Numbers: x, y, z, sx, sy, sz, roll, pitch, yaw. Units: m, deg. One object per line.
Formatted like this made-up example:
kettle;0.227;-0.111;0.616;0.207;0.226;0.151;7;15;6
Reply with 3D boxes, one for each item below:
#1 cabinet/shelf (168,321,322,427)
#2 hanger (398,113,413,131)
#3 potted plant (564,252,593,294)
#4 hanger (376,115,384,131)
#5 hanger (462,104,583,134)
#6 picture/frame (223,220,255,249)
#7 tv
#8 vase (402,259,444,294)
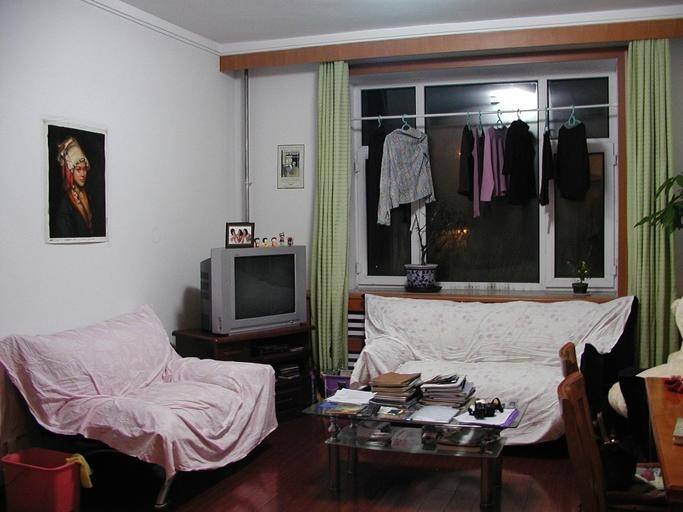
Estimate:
cabinet/shelf;-0.674;0.943;4.608;0.842;0.642;0.514;-1;7;-26
hanger;0.611;-1.262;5.119;0.185;0.215;0.008;-10;14;-40
potted plant;2.062;0.175;4.703;0.250;0.415;0.261;1;4;20
hanger;0.379;-1.285;5.204;0.052;0.095;0.107;0;5;0
hanger;1.625;-1.230;4.860;1.053;0.236;0.325;2;5;21
picture/frame;-0.844;-0.172;4.555;0.264;0.242;0.018;1;-2;-30
tv;-0.755;0.279;4.654;0.847;0.707;0.469;-2;3;-44
vase;0.751;0.179;4.966;0.263;0.208;0.272;0;0;-7
